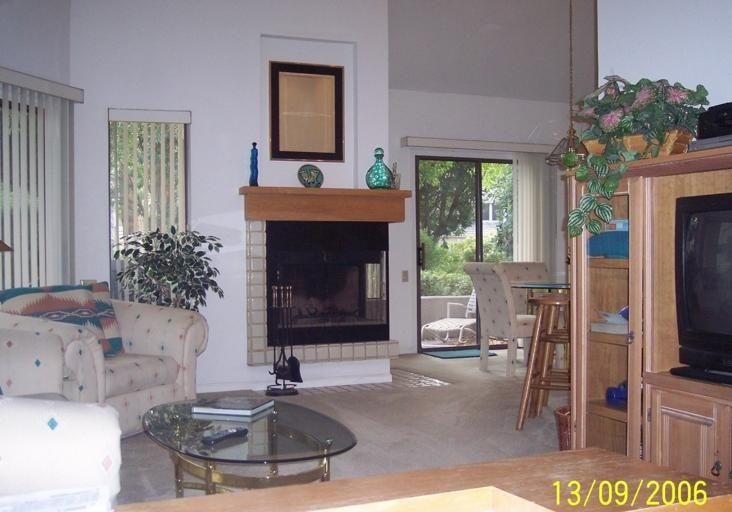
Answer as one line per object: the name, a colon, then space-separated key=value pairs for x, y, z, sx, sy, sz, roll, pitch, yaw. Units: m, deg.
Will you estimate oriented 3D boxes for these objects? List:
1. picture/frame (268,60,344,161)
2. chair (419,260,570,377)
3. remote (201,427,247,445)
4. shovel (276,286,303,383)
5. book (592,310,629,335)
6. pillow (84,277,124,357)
picture/frame: x=-0.546 y=-1.312 z=5.684 sx=0.702 sy=0.874 sz=0.062 roll=-2 pitch=10 yaw=-15
chair: x=1.315 y=0.591 z=6.463 sx=1.568 sy=1.009 sz=1.003 roll=-3 pitch=4 yaw=-21
remote: x=-0.646 y=0.817 z=2.820 sx=0.132 sy=0.039 sz=0.066 roll=-3 pitch=5 yaw=-36
shovel: x=-0.708 y=0.710 z=5.413 sx=0.236 sy=0.896 sz=0.624 roll=-2 pitch=3 yaw=-8
book: x=1.255 y=0.340 z=3.170 sx=0.118 sy=0.078 sz=0.122 roll=-1 pitch=-1 yaw=43
pillow: x=-1.785 y=0.431 z=4.321 sx=0.143 sy=0.476 sz=0.452 roll=-14 pitch=-2 yaw=5
